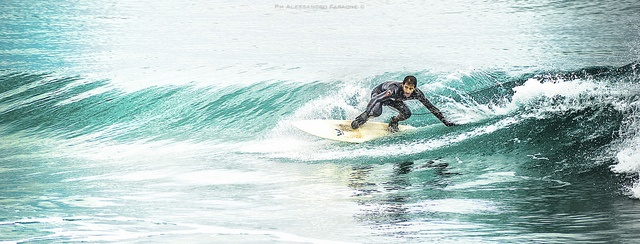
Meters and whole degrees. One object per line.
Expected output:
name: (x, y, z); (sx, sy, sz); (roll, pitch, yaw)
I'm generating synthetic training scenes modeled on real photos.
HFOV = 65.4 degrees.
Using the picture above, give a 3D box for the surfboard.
surfboard: (1.411, 0.252, 15.282); (5.020, 0.697, 0.396); (0, 12, 25)
